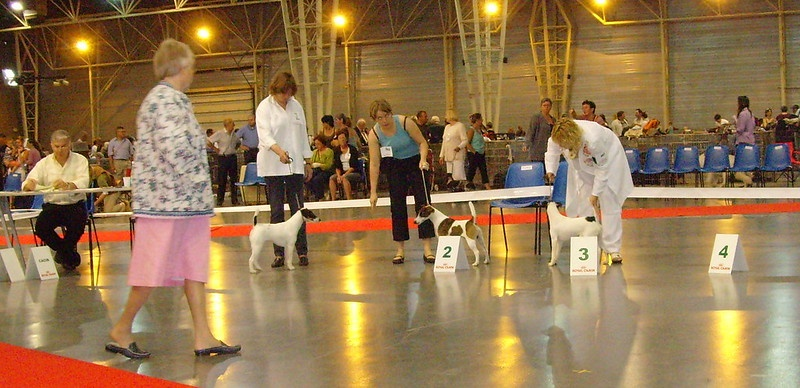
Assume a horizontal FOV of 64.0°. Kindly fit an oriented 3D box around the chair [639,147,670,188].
[{"bbox_3d":[6.218,-0.756,15.527,0.812,0.711,0.648,-12,12,-30],"label":"chair"}]

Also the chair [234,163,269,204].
[{"bbox_3d":[-3.979,-0.236,16.220,0.886,0.974,0.792,-8,8,-44],"label":"chair"}]

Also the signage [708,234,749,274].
[{"bbox_3d":[5.001,0.906,9.684,0.585,0.530,0.589,-5,-4,30],"label":"signage"}]

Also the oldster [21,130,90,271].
[{"bbox_3d":[-5.802,0.145,10.671,1.280,2.167,1.517,-1,7,-21],"label":"oldster"}]

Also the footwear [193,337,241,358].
[{"bbox_3d":[-2.369,1.998,8.295,0.621,0.177,0.211,-4,-3,-10],"label":"footwear"}]

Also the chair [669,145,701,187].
[{"bbox_3d":[7.347,-0.729,15.980,0.998,1.123,1.008,1,-6,20],"label":"chair"}]

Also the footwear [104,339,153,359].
[{"bbox_3d":[-3.519,2.005,8.266,0.608,0.170,0.205,6,-1,5],"label":"footwear"}]

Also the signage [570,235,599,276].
[{"bbox_3d":[2.843,0.947,9.774,0.060,0.584,0.510,11,-12,-34],"label":"signage"}]

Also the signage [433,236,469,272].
[{"bbox_3d":[0.816,0.971,10.178,0.582,0.636,0.454,4,10,31],"label":"signage"}]
